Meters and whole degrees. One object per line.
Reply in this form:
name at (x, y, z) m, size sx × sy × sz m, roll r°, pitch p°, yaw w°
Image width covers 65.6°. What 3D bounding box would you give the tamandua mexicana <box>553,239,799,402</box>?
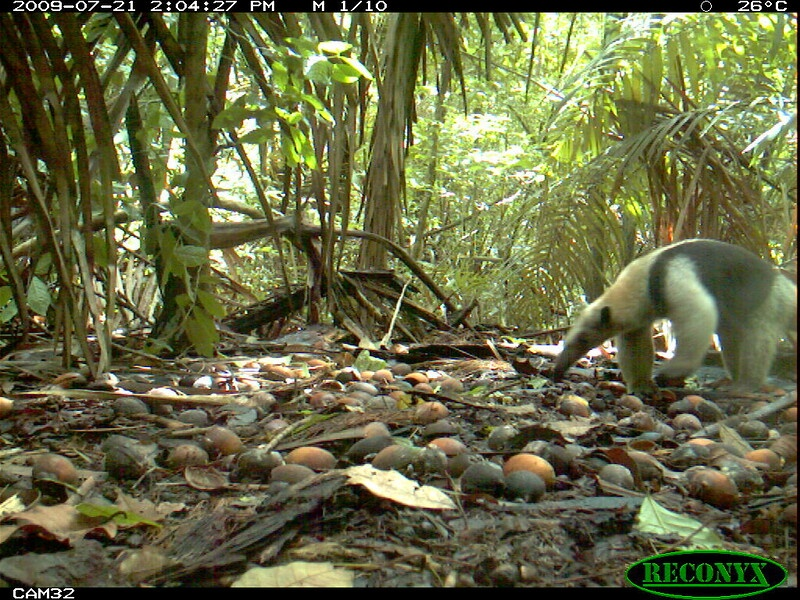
tamandua mexicana at (1.374, 0.038, 3.025) m, size 1.193 × 0.678 × 0.839 m, roll -1°, pitch 11°, yaw -18°
